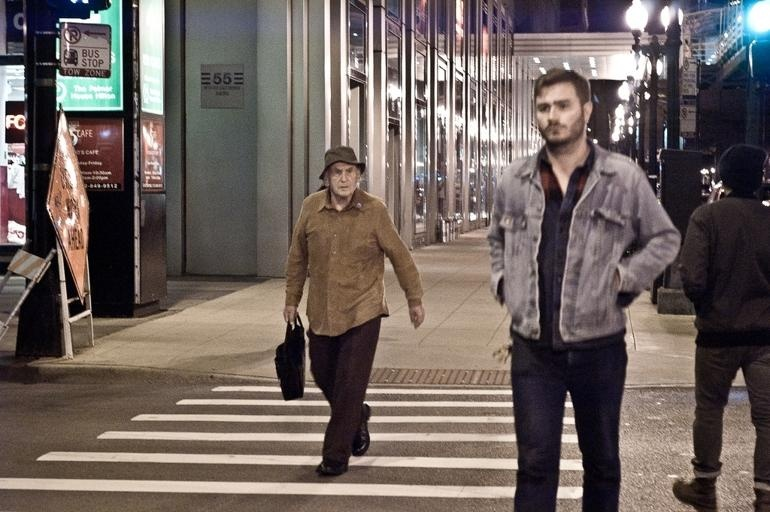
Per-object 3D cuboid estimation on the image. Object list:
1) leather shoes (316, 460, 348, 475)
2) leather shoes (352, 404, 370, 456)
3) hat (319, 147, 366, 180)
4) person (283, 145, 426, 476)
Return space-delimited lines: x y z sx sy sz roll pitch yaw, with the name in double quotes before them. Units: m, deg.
"leather shoes" -0.444 1.779 5.601 0.105 0.135 0.275 -19 -25 36
"leather shoes" -0.195 1.611 6.050 0.169 0.483 0.200 5 15 11
"hat" -0.352 -0.796 5.839 0.294 0.191 0.355 -1 5 7
"person" -0.297 0.568 5.976 1.059 2.428 0.917 -6 9 -30
